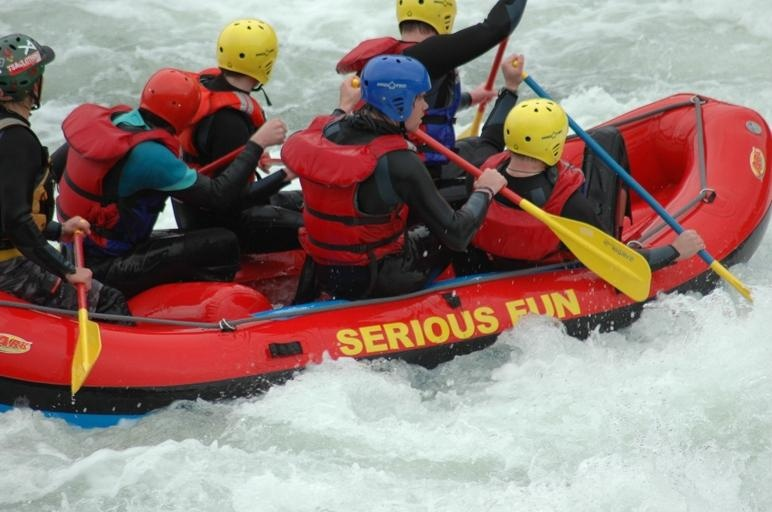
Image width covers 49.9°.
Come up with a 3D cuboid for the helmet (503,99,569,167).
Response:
[{"bbox_3d":[0.955,-0.812,5.440,0.479,0.350,0.349,-22,35,-39],"label":"helmet"}]

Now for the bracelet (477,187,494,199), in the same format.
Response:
[{"bbox_3d":[0.619,-0.397,5.198,0.086,0.030,0.074,24,10,31],"label":"bracelet"}]

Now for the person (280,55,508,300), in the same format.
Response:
[{"bbox_3d":[-0.033,-0.373,5.235,1.256,1.594,0.630,3,39,1],"label":"person"}]

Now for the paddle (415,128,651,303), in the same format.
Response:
[{"bbox_3d":[0.935,-0.228,5.549,2.041,0.284,0.156,31,29,1],"label":"paddle"}]

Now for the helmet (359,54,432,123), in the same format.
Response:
[{"bbox_3d":[0.055,-1.002,4.983,0.483,0.328,0.320,-5,18,-6],"label":"helmet"}]
